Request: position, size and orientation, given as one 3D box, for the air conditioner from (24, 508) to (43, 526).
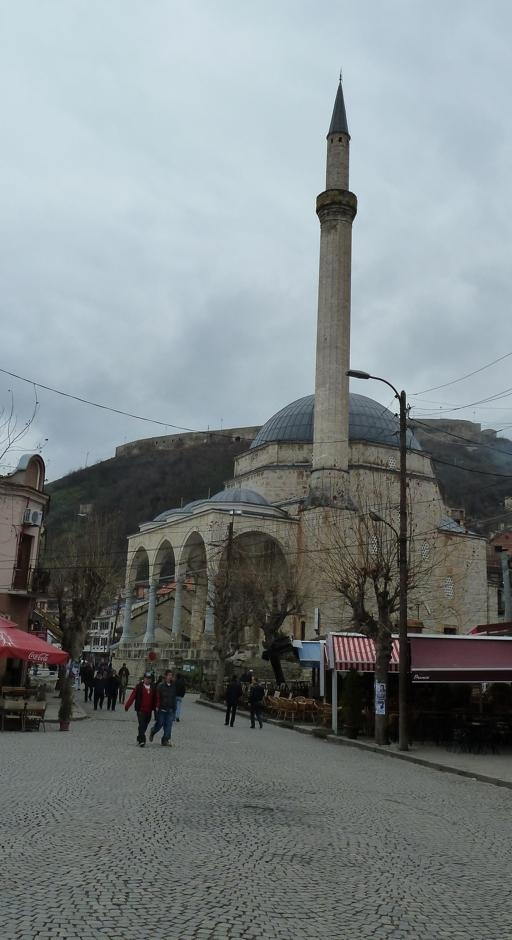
[{"bbox_3d":[-9.233,1.910,28.965,0.230,0.588,0.701,-2,-12,13],"label":"air conditioner"}]
